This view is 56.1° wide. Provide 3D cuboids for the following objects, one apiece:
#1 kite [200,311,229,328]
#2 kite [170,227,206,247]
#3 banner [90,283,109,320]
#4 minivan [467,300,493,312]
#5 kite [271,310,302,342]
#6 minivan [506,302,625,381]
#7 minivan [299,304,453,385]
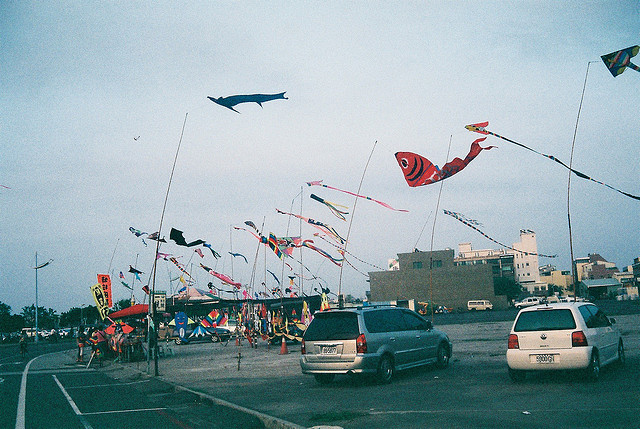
[{"bbox_3d":[-5.653,5.546,31.370,1.040,0.503,1.070,19,-46,-24],"label":"kite"},{"bbox_3d":[-5.478,0.956,24.090,1.039,0.768,3.003,-2,-6,-14],"label":"kite"},{"bbox_3d":[-12.758,5.005,34.764,0.742,2.131,2.104,-2,-6,-13],"label":"banner"},{"bbox_3d":[23.732,13.546,89.839,2.682,1.314,1.642,-3,-2,10],"label":"minivan"},{"bbox_3d":[-2.145,6.921,36.933,1.814,0.542,1.844,7,2,-4],"label":"kite"},{"bbox_3d":[8.207,3.992,19.563,2.040,1.823,3.638,-7,-4,37],"label":"minivan"},{"bbox_3d":[2.063,4.394,21.363,4.429,1.891,2.475,-1,-4,-45],"label":"minivan"}]
